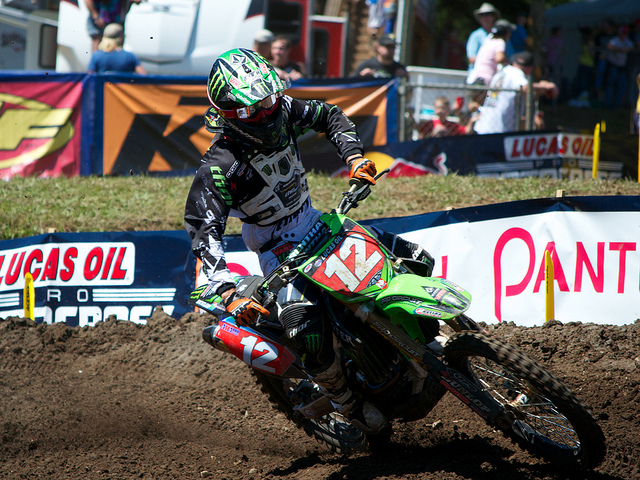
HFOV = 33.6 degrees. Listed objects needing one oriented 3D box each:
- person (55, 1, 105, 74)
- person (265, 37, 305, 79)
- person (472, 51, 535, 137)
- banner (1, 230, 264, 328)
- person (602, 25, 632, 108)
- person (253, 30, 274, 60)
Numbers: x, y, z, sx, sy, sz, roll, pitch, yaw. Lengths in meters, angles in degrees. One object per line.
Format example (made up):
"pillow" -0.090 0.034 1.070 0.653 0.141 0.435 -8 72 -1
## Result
"person" -3.568 -3.011 15.565 0.352 1.040 1.318 5 14 7
"person" -0.563 -3.116 17.864 0.585 0.587 1.363 3 14 -2
"person" 2.843 -2.187 16.455 0.858 1.028 0.456 6 14 9
"banner" -2.262 0.475 12.409 1.147 0.204 3.121 16 21 30
"person" 6.786 -3.928 24.214 0.567 1.873 0.848 7 14 15
"person" -0.933 -3.182 17.259 0.288 0.443 0.785 3 14 -4
